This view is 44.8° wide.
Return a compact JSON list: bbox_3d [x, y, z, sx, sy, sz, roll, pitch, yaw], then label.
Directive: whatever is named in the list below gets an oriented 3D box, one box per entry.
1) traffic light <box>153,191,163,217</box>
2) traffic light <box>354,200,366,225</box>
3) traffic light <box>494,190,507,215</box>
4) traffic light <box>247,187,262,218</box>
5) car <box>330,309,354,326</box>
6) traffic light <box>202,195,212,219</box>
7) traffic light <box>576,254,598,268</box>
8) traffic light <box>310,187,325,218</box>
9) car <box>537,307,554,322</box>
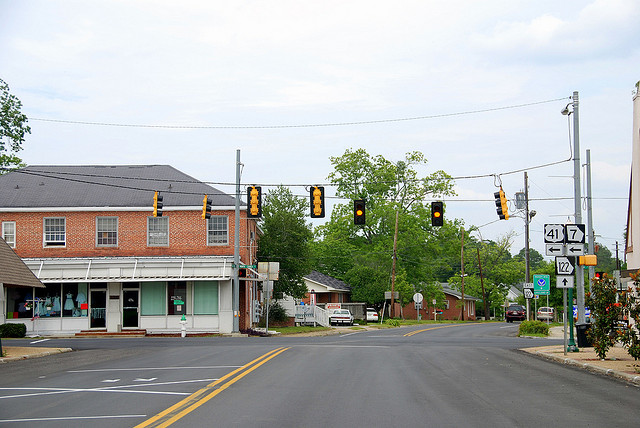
[{"bbox_3d":[-8.866,-0.614,42.530,0.368,1.413,1.172,2,-14,-18],"label":"traffic light"},{"bbox_3d":[2.037,-0.119,40.592,0.518,1.277,0.357,-5,-13,12],"label":"traffic light"},{"bbox_3d":[9.474,-0.590,40.774,0.464,1.527,1.344,-6,-14,14],"label":"traffic light"},{"bbox_3d":[-3.398,-0.593,40.076,0.565,1.594,0.784,-6,-13,15],"label":"traffic light"},{"bbox_3d":[1.788,8.955,67.297,1.956,1.404,0.876,0,-13,-10],"label":"car"},{"bbox_3d":[-6.257,-0.447,43.045,0.370,1.205,1.270,0,-13,-10],"label":"traffic light"},{"bbox_3d":[12.295,2.164,35.872,1.168,0.719,0.610,2,-6,-22],"label":"traffic light"},{"bbox_3d":[-0.130,-0.552,39.013,0.615,1.703,0.869,-1,-13,-6],"label":"traffic light"},{"bbox_3d":[22.865,10.295,79.020,1.142,0.950,2.388,0,1,17],"label":"car"}]
